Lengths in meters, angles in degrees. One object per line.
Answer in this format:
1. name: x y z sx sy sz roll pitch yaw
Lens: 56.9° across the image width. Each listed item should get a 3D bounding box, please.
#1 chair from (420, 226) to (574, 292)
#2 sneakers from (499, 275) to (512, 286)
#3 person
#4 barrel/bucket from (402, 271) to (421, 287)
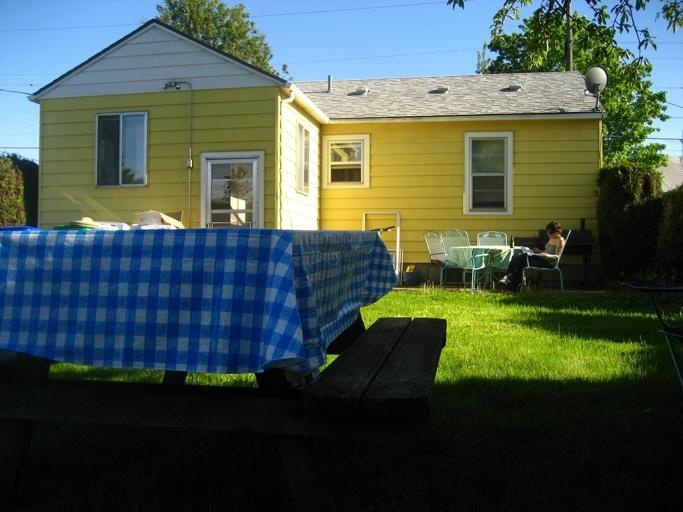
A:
1. chair: 2.737 0.094 10.460 1.558 0.888 1.390 1 -1 34
2. sneakers: 2.818 0.423 10.690 0.228 0.099 0.222 -21 10 -37
3. person: 3.137 0.059 10.334 0.939 1.141 0.787 2 13 14
4. barrel/bucket: 1.329 0.447 12.047 0.344 0.249 0.253 -5 7 -30
